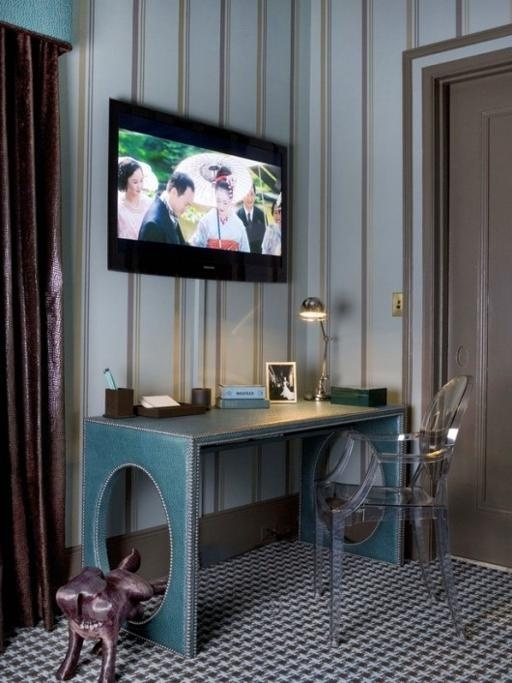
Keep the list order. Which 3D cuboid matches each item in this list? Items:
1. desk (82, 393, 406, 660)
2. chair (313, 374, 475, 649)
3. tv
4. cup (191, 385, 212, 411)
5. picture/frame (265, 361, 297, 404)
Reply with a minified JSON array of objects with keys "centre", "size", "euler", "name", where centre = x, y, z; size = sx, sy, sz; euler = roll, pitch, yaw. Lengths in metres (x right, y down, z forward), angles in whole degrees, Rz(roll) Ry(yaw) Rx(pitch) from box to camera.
[{"centre":[-0.081,0.604,2.338],"size":[0.593,0.701,1.035],"euler":[-2,-4,42],"name":"desk"},{"centre":[0.587,0.542,2.597],"size":[0.693,1.401,0.796],"euler":[1,-4,-2],"name":"chair"},{"centre":[-0.265,-0.643,2.635],"size":[0.016,0.669,0.857],"euler":[0,-1,38],"name":"tv"},{"centre":[-0.216,0.240,2.527],"size":[0.072,0.092,0.073],"euler":[2,-1,0],"name":"cup"},{"centre":[0.116,0.196,2.850],"size":[0.140,0.214,0.013],"euler":[7,-17,-28],"name":"picture/frame"}]
